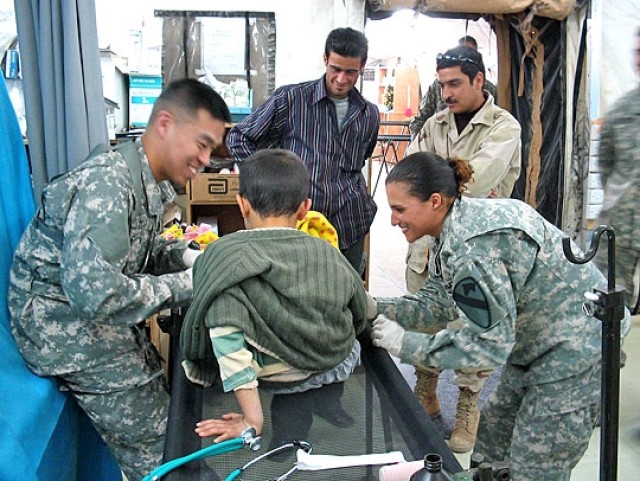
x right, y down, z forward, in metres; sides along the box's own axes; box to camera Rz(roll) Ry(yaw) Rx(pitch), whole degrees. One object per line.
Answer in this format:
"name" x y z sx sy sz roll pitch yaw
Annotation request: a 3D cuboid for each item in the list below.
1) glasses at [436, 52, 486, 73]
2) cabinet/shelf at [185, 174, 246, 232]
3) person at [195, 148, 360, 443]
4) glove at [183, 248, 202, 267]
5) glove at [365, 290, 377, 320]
"glasses" 0.795 -1.015 3.326 0.261 0.101 0.156 3 9 15
"cabinet/shelf" -0.791 -0.282 4.520 0.429 0.439 0.329 -4 8 -21
"person" -0.125 0.154 2.138 0.719 0.947 0.458 -6 9 -38
"glove" -0.528 0.071 2.416 0.047 0.037 0.050 34 -36 -2
"glove" 0.217 0.280 2.526 0.045 0.117 0.107 -14 -21 16
